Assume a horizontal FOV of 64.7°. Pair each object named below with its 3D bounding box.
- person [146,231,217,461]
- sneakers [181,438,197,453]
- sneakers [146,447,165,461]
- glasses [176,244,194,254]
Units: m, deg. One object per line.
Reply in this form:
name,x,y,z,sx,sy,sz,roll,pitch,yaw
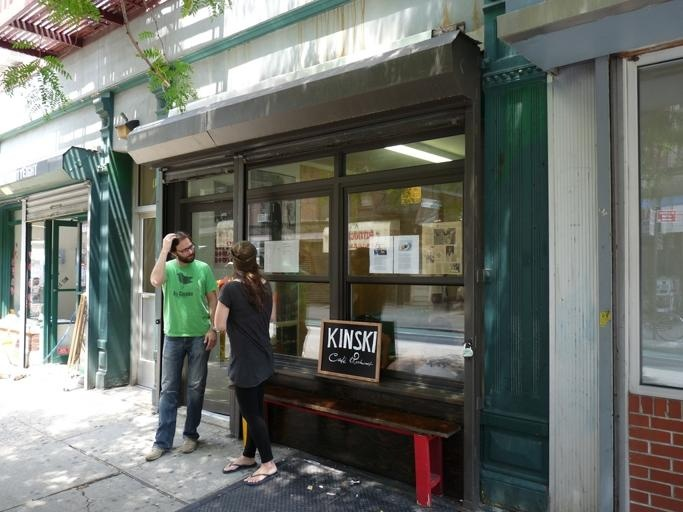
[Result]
person,-1.679,0.902,5.717,0.743,2.271,0.607,-3,8,-15
sneakers,-1.606,1.990,5.686,0.166,0.110,0.178,-4,8,-17
sneakers,-1.918,2.034,5.538,0.078,0.079,0.178,-3,-13,10
glasses,-1.664,-0.079,5.769,0.080,0.071,0.198,6,11,42
